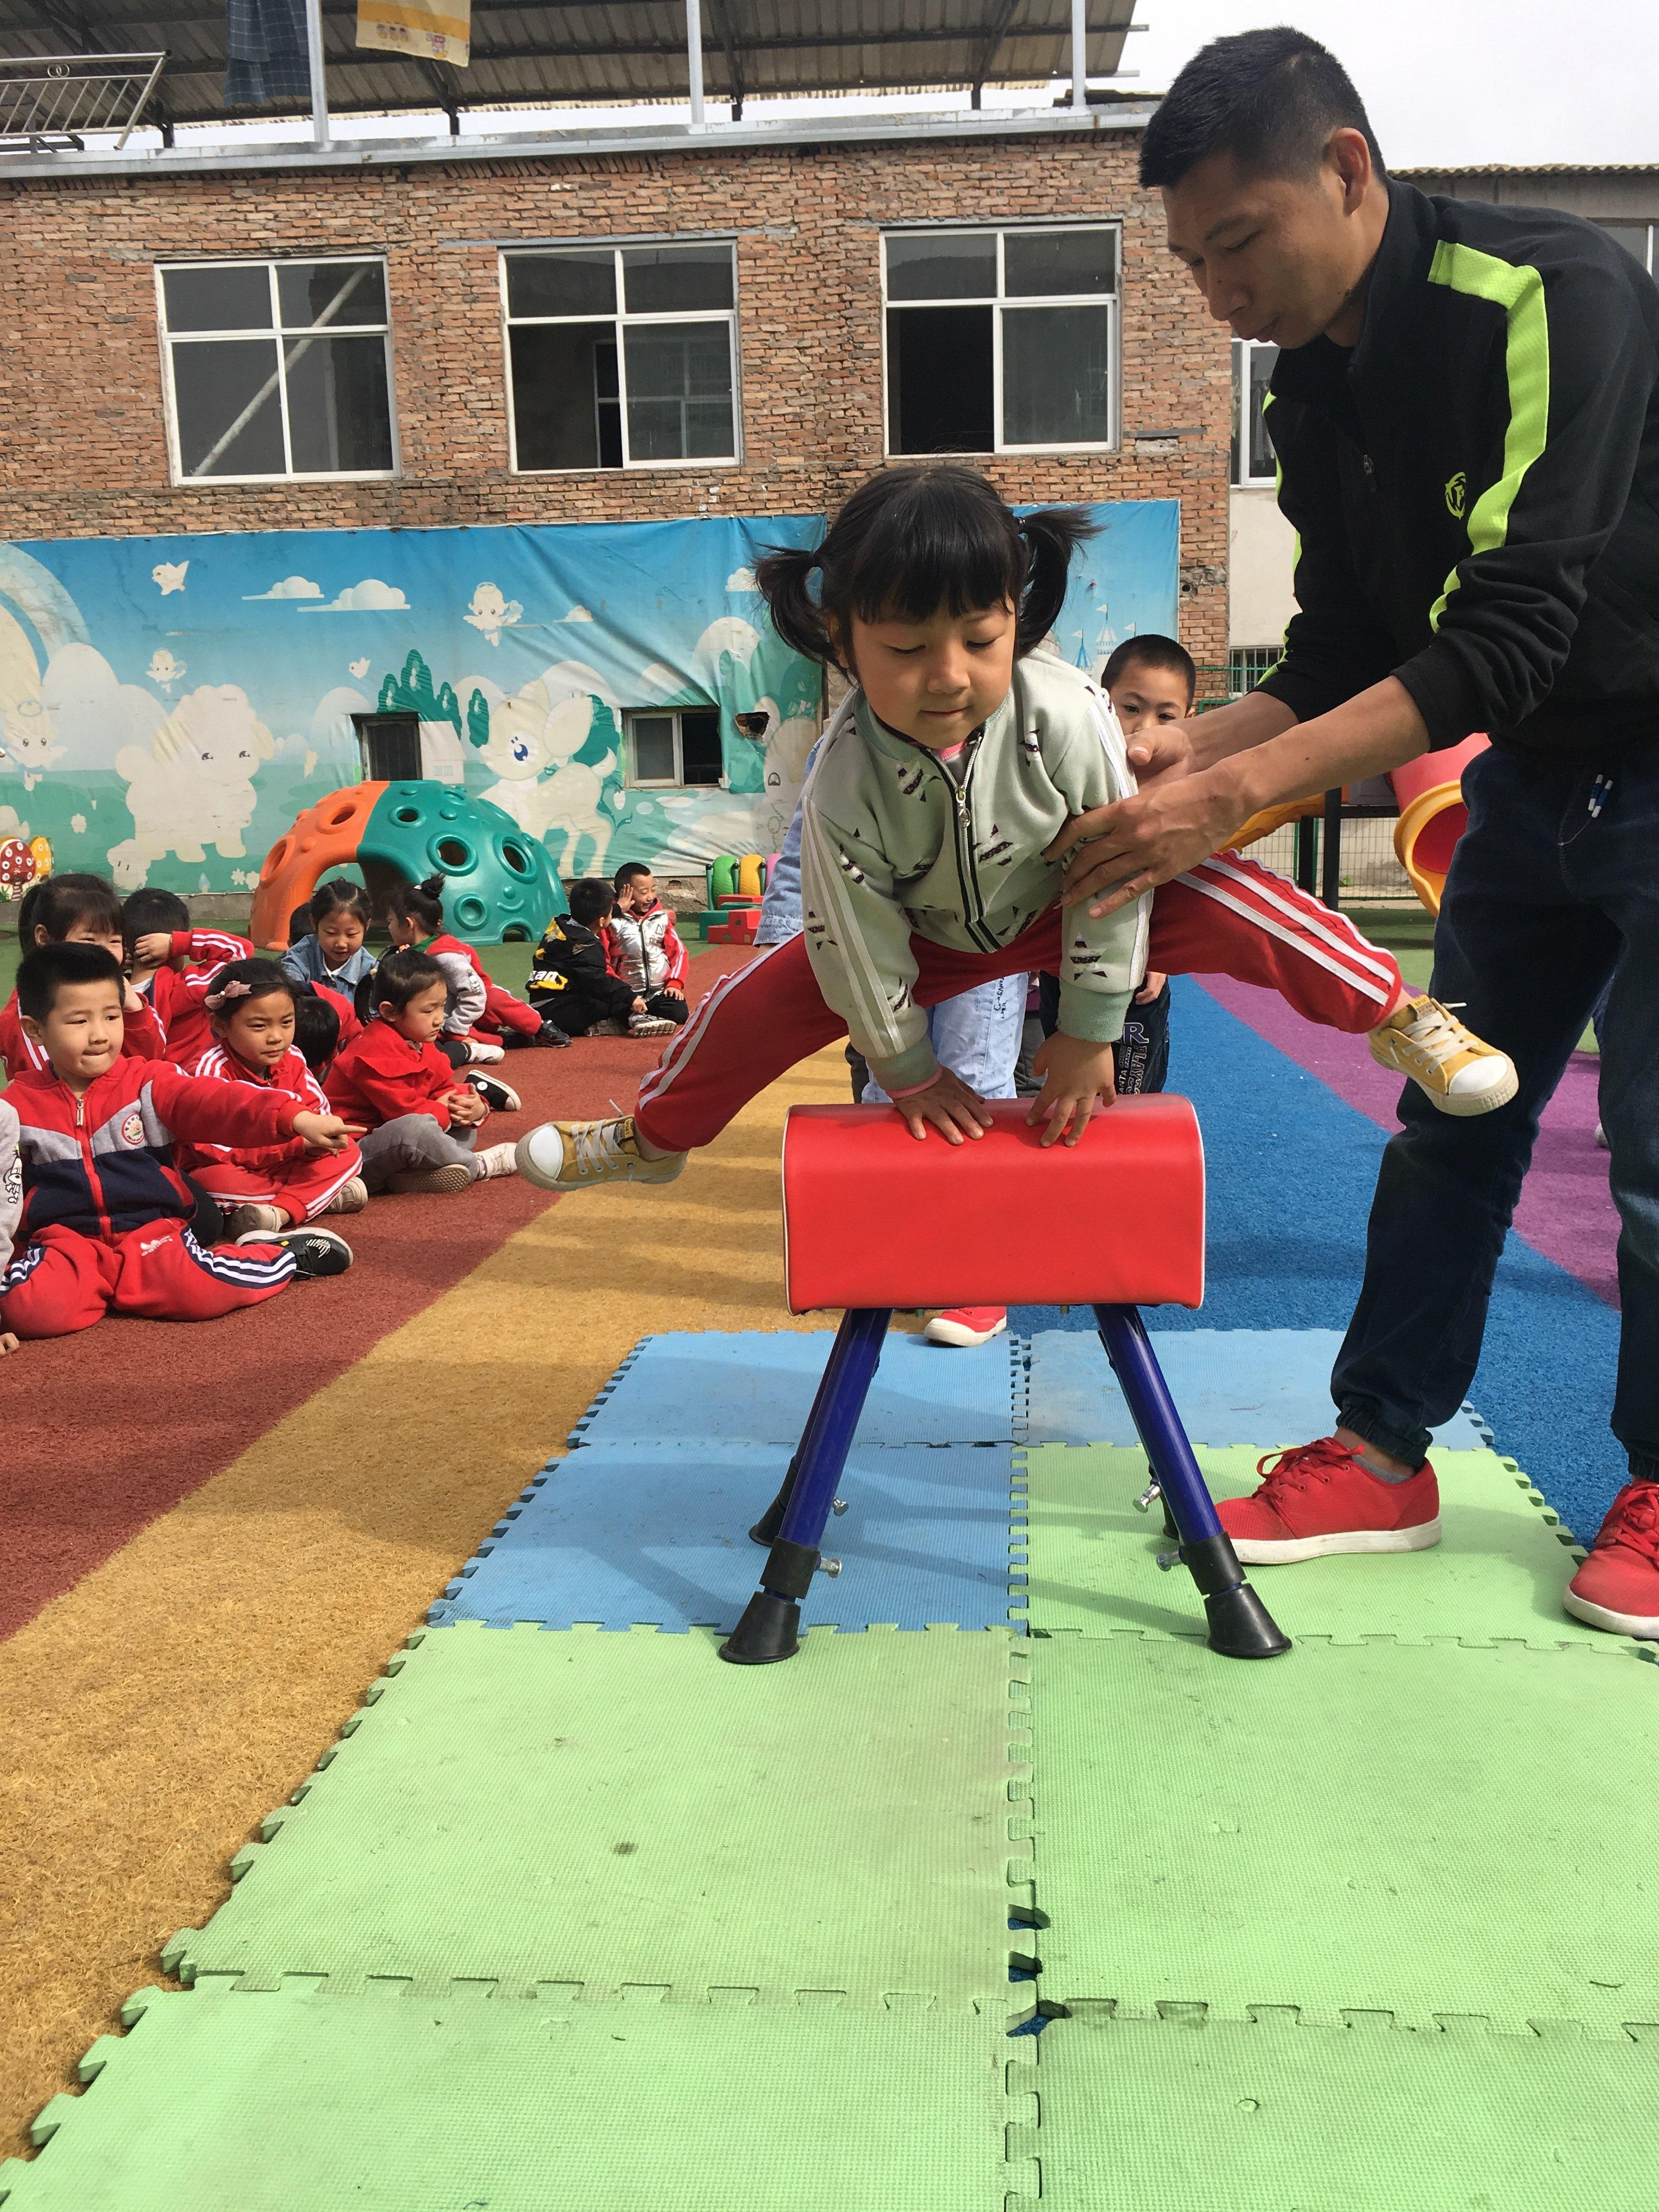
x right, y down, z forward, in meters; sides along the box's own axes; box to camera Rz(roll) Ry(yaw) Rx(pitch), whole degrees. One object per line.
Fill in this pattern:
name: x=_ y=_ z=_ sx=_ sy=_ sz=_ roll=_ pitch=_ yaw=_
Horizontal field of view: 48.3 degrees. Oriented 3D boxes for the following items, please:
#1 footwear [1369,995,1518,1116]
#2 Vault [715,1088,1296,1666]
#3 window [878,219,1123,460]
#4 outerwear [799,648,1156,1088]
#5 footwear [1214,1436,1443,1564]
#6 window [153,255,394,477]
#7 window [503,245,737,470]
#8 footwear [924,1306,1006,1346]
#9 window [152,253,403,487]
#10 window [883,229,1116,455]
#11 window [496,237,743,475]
footwear: x=0.643 y=-0.068 z=2.047 sx=0.087 sy=0.085 sz=0.209 roll=-41 pitch=28 yaw=-4
Vault: x=0.175 y=0.289 z=2.218 sx=0.792 sy=0.603 sz=0.571 roll=-1 pitch=1 yaw=1
window: x=1.141 y=-5.200 z=12.562 sx=1.859 sy=1.402 sz=0.137 roll=15 pitch=32 yaw=33
outerwear: x=0.136 y=-0.246 z=1.965 sx=0.284 sy=0.460 sz=0.260 roll=-10 pitch=13 yaw=-35
footwear: x=0.582 y=0.477 z=2.233 sx=0.345 sy=0.120 sz=0.115 roll=0 pitch=-7 yaw=-3
window: x=-3.899 y=-5.269 z=12.945 sx=1.859 sy=1.452 sz=0.125 roll=0 pitch=9 yaw=-4
window: x=-1.400 y=-5.245 z=12.753 sx=1.837 sy=1.299 sz=0.120 roll=-1 pitch=6 yaw=1
footwear: x=0.238 y=0.361 z=3.048 sx=0.077 sy=0.072 sz=0.208 roll=-6 pitch=-8 yaw=38
window: x=-3.867 y=-5.234 z=12.936 sx=1.918 sy=1.512 sz=0.129 roll=2 pitch=9 yaw=-4
window: x=1.165 y=-5.252 z=12.503 sx=1.808 sy=1.273 sz=0.171 roll=-1 pitch=4 yaw=2
window: x=-1.405 y=-5.251 z=12.741 sx=1.921 sy=1.353 sz=0.134 roll=-1 pitch=6 yaw=1
